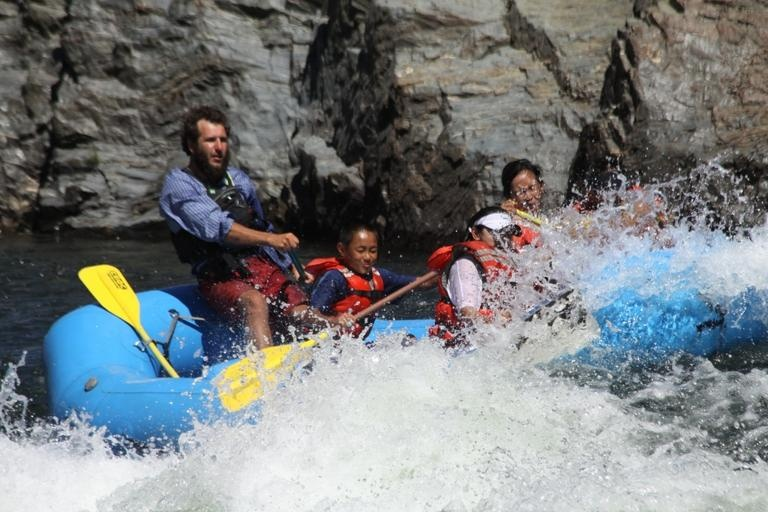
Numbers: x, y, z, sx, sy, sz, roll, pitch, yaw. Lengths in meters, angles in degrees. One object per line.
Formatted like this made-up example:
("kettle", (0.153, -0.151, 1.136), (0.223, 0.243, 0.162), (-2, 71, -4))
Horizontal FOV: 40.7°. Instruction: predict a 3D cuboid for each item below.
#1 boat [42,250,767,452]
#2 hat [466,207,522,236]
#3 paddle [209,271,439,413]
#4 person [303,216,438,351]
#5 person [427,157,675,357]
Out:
("boat", (-0.021, 0.790, 8.845), (5.022, 0.925, 2.315), (-6, -5, -3))
("hat", (0.972, -0.299, 9.038), (0.360, 0.164, 0.246), (3, -8, 16))
("paddle", (-0.583, 0.747, 8.782), (2.077, 0.345, 0.220), (-28, -3, 1))
("person", (-0.175, 0.491, 9.502), (1.332, 1.434, 0.900), (-7, 17, -31))
("person", (1.485, 0.084, 8.928), (2.024, 0.699, 1.484), (-9, 46, 13))
